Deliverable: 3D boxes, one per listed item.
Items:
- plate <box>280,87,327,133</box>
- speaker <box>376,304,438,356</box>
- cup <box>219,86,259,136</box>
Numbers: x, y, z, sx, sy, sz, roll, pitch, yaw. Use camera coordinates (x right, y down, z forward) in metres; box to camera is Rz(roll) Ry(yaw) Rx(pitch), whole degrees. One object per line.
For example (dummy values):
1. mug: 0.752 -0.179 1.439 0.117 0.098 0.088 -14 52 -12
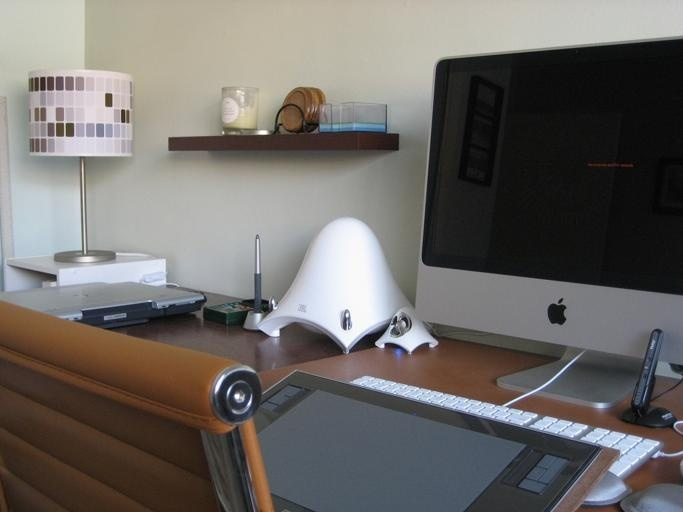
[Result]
1. plate: -0.119 -0.446 1.668 0.133 0.144 0.137 4 6 -3
2. speaker: 0.165 0.164 1.319 0.116 0.079 0.109 -7 9 -41
3. cup: -0.329 -0.465 1.754 0.137 0.160 0.135 2 13 0
